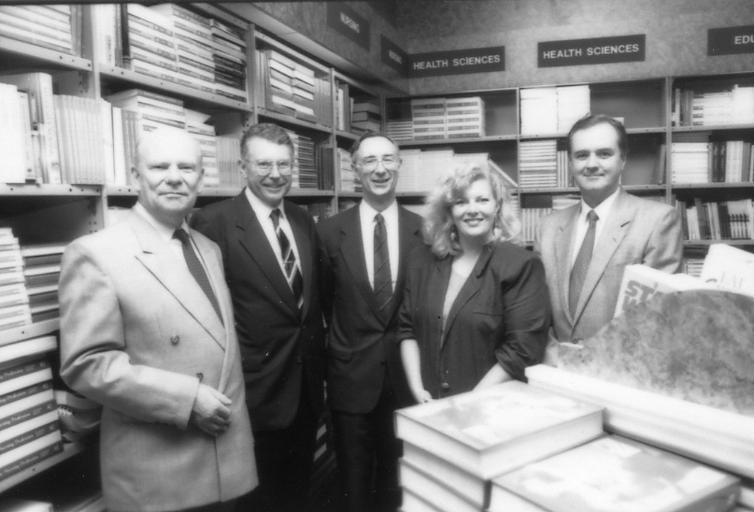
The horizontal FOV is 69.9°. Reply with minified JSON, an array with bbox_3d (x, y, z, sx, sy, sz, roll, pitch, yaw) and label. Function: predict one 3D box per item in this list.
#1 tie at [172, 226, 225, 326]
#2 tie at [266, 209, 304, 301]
[{"bbox_3d":[-0.657,-0.002,1.921,0.087,0.051,0.578,4,41,-40],"label":"tie"},{"bbox_3d":[-0.400,0.002,2.387,0.080,0.548,0.065,-18,-26,-5],"label":"tie"}]
